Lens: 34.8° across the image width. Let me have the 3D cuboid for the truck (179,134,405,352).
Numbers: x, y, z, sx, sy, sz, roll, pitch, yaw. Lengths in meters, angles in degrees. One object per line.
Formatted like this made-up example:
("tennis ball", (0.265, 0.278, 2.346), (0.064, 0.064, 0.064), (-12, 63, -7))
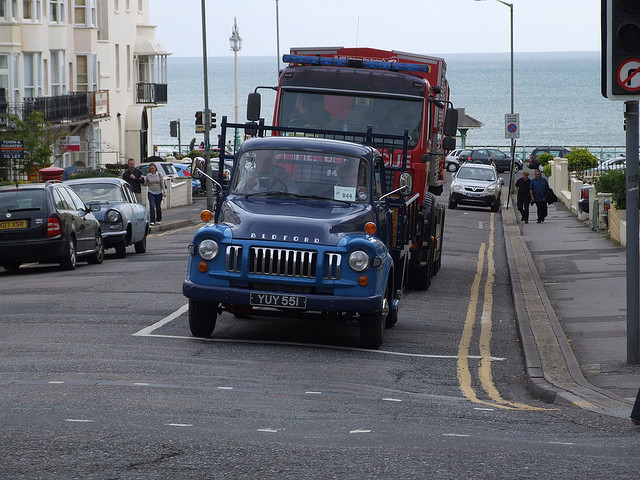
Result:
("truck", (-0.103, -0.129, 14.070), (1.860, 1.805, 3.719), (2, 1, 9))

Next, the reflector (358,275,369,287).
("reflector", (0.525, 0.499, 12.331), (0.134, 0.133, 0.036), (-5, 9, -23))

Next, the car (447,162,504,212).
("car", (6.588, -2.119, 43.066), (2.081, 1.867, 2.617), (-2, 10, -10))

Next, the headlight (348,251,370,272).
("headlight", (0.470, 0.266, 12.217), (0.230, 0.240, 0.231), (0, 0, -2))

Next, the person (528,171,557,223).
("person", (7.695, -1.414, 35.291), (0.577, 1.667, 1.151), (-4, 9, -21))

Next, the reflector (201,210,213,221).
("reflector", (-1.494, -0.324, 13.429), (0.034, 0.137, 0.144), (-16, -7, -46))

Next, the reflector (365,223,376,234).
("reflector", (0.643, -0.139, 12.997), (0.069, 0.136, 0.192), (8, 13, 44))

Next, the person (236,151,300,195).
("person", (-0.701, -0.829, 13.506), (0.522, 0.741, 0.230), (-1, -19, 3))

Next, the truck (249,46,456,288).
("truck", (0.666, -2.097, 17.940), (2.870, 3.141, 5.656), (2, 1, 10))

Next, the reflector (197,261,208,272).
("reflector", (-1.441, 0.334, 12.558), (0.136, 0.130, 0.036), (3, 9, 24))

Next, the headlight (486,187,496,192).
("headlight", (7.054, -2.065, 42.077), (0.367, 0.160, 0.219), (-1, 9, -1))
